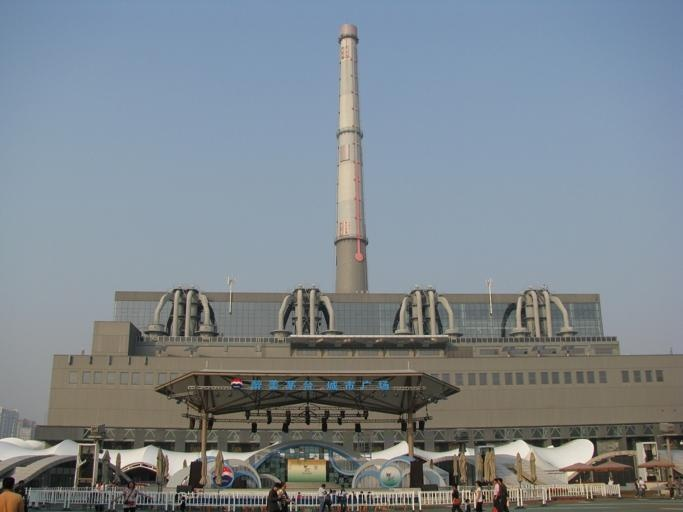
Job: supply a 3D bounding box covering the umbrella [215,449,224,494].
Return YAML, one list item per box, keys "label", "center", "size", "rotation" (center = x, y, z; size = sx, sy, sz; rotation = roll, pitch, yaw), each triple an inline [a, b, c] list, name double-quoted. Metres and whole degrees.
- label: "umbrella"
  center: [-10.889, 19.219, 75.962]
  size: [0.794, 3.291, 1.868]
  rotation: [3, -19, -8]

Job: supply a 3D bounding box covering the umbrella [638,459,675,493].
- label: "umbrella"
  center: [35.768, 24.806, 94.625]
  size: [4.515, 4.024, 4.058]
  rotation: [21, -24, -41]
